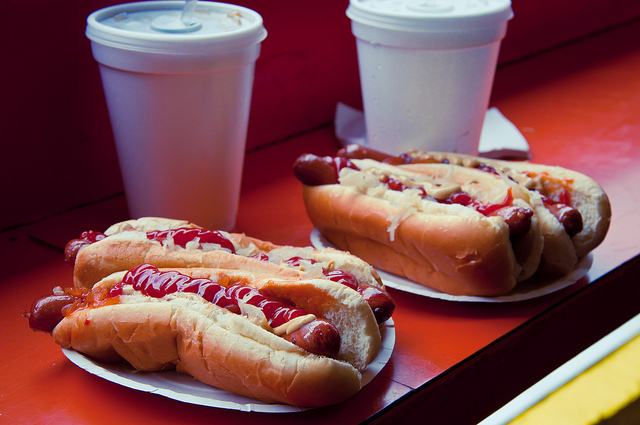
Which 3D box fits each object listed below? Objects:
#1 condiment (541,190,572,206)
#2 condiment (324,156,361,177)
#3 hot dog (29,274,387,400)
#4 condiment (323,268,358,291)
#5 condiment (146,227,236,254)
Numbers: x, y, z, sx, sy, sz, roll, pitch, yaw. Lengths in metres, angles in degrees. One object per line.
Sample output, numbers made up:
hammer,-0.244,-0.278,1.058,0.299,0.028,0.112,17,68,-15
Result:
condiment,0.604,-0.029,1.445,0.052,0.023,0.051,-21,16,-14
condiment,0.054,-0.137,1.565,0.071,0.025,0.057,22,8,-12
hot dog,-0.223,0.202,1.103,0.599,0.158,0.292,5,22,13
condiment,0.049,0.135,1.192,0.049,0.015,0.038,26,22,15
condiment,-0.297,0.052,1.302,0.164,0.052,0.084,11,18,1
